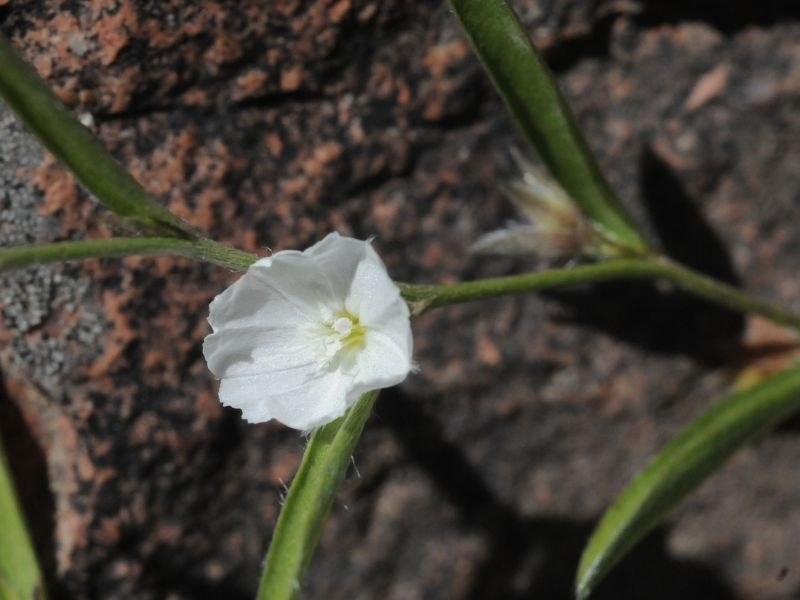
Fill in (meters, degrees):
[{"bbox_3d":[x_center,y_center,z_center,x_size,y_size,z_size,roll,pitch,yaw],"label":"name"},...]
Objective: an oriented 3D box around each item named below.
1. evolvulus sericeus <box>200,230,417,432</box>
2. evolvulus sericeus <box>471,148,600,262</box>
[{"bbox_3d":[-0.080,0.027,1.341,0.225,0.134,0.240,19,37,16],"label":"evolvulus sericeus"},{"bbox_3d":[0.245,-0.131,1.675,0.201,0.057,0.188,25,81,12],"label":"evolvulus sericeus"}]
